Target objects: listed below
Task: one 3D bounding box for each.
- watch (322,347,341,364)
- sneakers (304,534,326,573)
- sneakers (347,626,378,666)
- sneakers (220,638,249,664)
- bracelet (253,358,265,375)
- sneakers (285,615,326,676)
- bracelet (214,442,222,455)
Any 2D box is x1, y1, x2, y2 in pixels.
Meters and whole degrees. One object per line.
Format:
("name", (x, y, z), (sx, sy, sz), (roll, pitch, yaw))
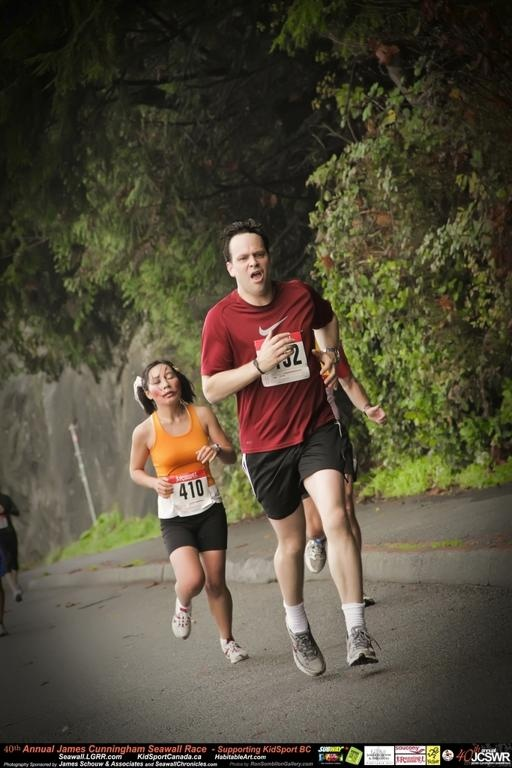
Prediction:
("watch", (0.316, -0.125, 2.676), (0.059, 0.065, 0.040), (13, 60, 22))
("sneakers", (0.360, 1.045, 3.915), (0.123, 0.333, 0.130), (4, 16, 21))
("sneakers", (0.348, 0.869, 2.125), (0.088, 0.125, 0.179), (-9, 8, 5))
("sneakers", (-0.109, 1.315, 3.108), (0.073, 0.080, 0.182), (-7, -17, -28))
("bracelet", (0.009, -0.069, 2.333), (0.018, 0.043, 0.050), (-39, 60, -6))
("sneakers", (0.181, 1.025, 2.535), (0.105, 0.112, 0.279), (-18, 53, 0))
("bracelet", (-0.182, 0.305, 3.009), (0.011, 0.041, 0.043), (-22, 36, -27))
